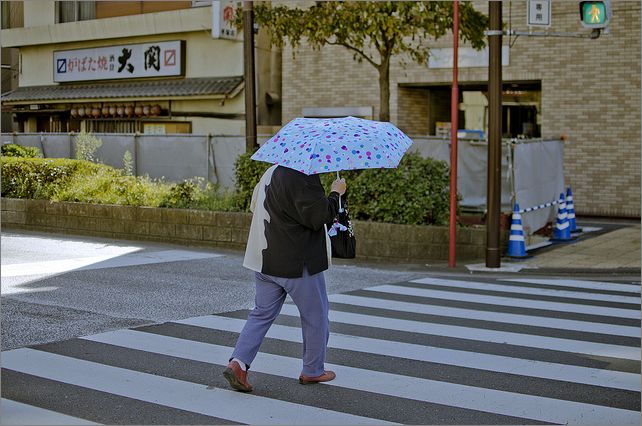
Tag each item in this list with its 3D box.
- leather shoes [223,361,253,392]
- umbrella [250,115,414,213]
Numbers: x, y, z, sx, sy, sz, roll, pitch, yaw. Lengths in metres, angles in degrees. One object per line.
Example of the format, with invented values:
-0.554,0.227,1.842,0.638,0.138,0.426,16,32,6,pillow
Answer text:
-1.069,2.101,9.455,0.199,0.257,0.516,4,-39,50,leather shoes
0.167,-0.674,9.427,1.845,0.951,0.878,1,11,3,umbrella
